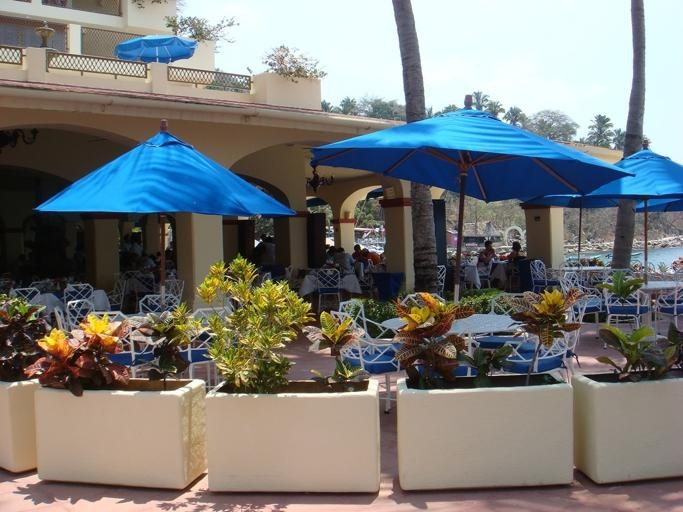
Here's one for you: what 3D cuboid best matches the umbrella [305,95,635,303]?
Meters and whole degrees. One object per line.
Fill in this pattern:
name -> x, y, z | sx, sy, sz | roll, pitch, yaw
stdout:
umbrella -> 1.239, -0.589, 6.211 | 2.368, 1.910, 2.130 | -6, 8, -28

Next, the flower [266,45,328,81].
flower -> -1.002, -3.812, 12.678 | 1.139, 0.504, 1.160 | 9, 15, 18

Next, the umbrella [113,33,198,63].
umbrella -> -4.398, -4.915, 15.358 | 2.021, 0.691, 0.981 | 2, 9, 32
